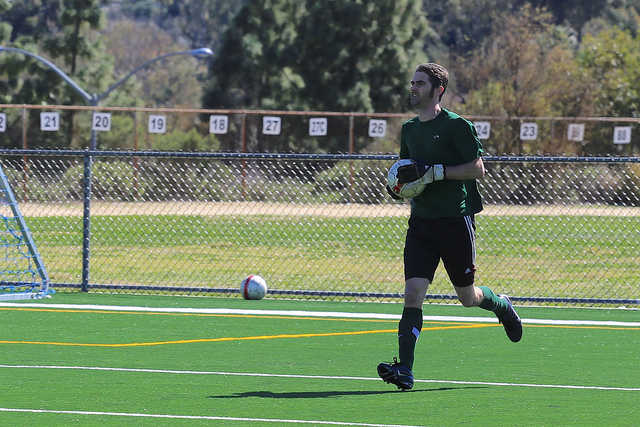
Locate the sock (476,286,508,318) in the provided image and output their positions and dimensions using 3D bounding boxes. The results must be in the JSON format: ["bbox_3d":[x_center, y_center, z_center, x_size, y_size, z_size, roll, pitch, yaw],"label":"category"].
[{"bbox_3d":[3.163,1.591,20.823,0.294,0.352,1.018,-14,-31,39],"label":"sock"}]

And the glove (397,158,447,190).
[{"bbox_3d":[1.793,-0.678,20.053,0.849,0.491,0.208,1,13,3],"label":"glove"}]

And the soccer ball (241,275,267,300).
[{"bbox_3d":[-1.350,1.494,23.685,0.459,0.459,0.453,1,-32,1],"label":"soccer ball"}]

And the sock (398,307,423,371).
[{"bbox_3d":[1.539,2.160,19.923,0.347,1.003,0.506,6,15,23],"label":"sock"}]
